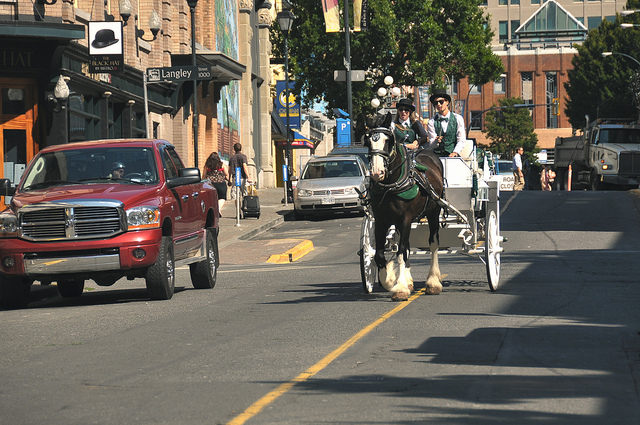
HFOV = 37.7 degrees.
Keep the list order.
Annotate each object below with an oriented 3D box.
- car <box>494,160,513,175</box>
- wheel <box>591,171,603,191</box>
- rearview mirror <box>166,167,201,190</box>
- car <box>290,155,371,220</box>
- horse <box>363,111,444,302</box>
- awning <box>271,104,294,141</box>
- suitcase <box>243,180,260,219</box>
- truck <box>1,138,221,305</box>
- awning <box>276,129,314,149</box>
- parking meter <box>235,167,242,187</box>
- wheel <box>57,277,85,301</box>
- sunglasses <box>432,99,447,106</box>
[{"bbox_3d":[12.004,-2.953,61.130,1.226,1.148,2.137,-1,-3,6],"label":"car"},{"bbox_3d":[13.637,-1.539,46.160,0.336,0.963,0.953,1,-1,-3],"label":"wheel"},{"bbox_3d":[-2.418,-0.605,16.857,0.482,0.204,0.368,-13,2,-4],"label":"rearview mirror"},{"bbox_3d":[0.320,-0.803,32.945,2.564,2.208,2.723,-4,5,-25],"label":"car"},{"bbox_3d":[1.435,-0.098,15.906,1.164,3.186,1.959,0,4,18],"label":"horse"},{"bbox_3d":[-2.627,-5.519,59.375,1.443,1.772,4.866,-3,-2,8],"label":"awning"},{"bbox_3d":[-2.413,-0.160,33.002,0.564,0.848,0.448,-2,4,-2],"label":"suitcase"},{"bbox_3d":[-3.393,0.100,17.415,2.403,1.637,3.813,-3,-5,9],"label":"truck"},{"bbox_3d":[-1.637,-5.091,69.863,2.591,1.277,2.633,0,5,6],"label":"awning"},{"bbox_3d":[-2.632,-1.114,30.286,0.181,0.633,0.828,-2,4,-9],"label":"parking meter"},{"bbox_3d":[-4.696,1.456,17.706,0.223,0.586,0.584,0,1,8],"label":"wheel"},{"bbox_3d":[2.110,-1.931,16.536,0.215,0.091,0.128,0,4,13],"label":"sunglasses"}]
